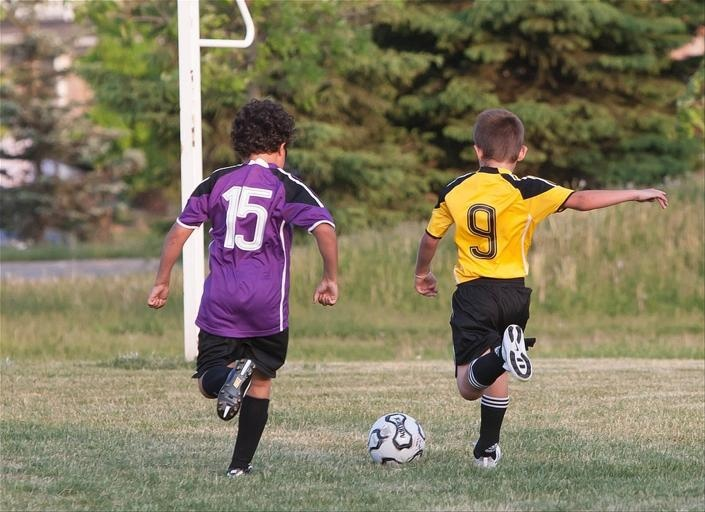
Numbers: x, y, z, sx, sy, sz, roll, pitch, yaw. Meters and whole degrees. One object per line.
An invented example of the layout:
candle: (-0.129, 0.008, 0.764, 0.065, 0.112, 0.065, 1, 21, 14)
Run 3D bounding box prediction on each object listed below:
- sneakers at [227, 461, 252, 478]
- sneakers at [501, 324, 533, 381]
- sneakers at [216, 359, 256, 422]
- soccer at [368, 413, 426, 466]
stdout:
sneakers: (-1.145, 2.161, 16.001, 0.198, 0.088, 0.122, 1, -30, -11)
sneakers: (1.619, 0.989, 15.900, 0.232, 0.602, 0.247, -9, -18, -19)
sneakers: (-1.119, 1.320, 15.793, 0.241, 0.674, 0.280, 27, -11, 7)
soccer: (0.491, 1.855, 16.503, 0.561, 0.673, 0.526, -7, 27, 2)
